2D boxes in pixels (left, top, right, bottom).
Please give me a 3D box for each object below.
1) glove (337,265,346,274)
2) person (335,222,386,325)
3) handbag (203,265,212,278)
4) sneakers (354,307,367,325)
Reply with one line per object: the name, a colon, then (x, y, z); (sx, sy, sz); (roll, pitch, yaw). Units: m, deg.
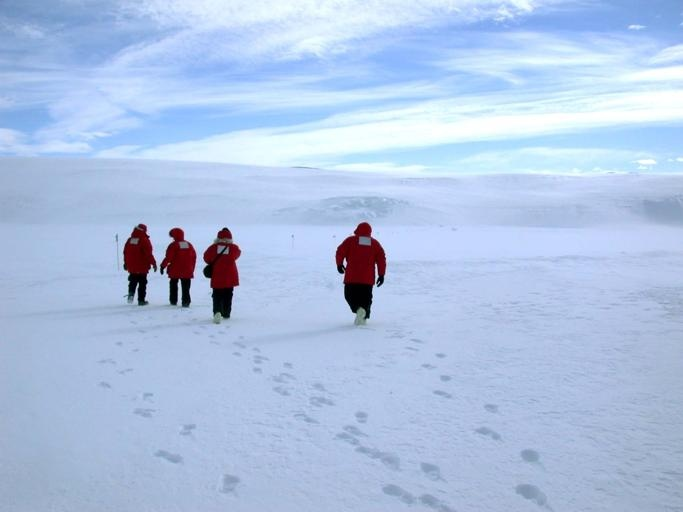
glove: (0.004, 0.220, 10.973); (0.186, 0.233, 0.157); (-2, 0, 1)
person: (0.344, 0.300, 11.565); (0.887, 1.991, 1.446); (4, 13, 4)
handbag: (-2.425, 0.251, 11.335); (0.156, 0.250, 0.364); (-1, 13, -15)
sneakers: (0.327, 1.067, 11.099); (0.200, 0.279, 0.076); (3, -13, -3)
